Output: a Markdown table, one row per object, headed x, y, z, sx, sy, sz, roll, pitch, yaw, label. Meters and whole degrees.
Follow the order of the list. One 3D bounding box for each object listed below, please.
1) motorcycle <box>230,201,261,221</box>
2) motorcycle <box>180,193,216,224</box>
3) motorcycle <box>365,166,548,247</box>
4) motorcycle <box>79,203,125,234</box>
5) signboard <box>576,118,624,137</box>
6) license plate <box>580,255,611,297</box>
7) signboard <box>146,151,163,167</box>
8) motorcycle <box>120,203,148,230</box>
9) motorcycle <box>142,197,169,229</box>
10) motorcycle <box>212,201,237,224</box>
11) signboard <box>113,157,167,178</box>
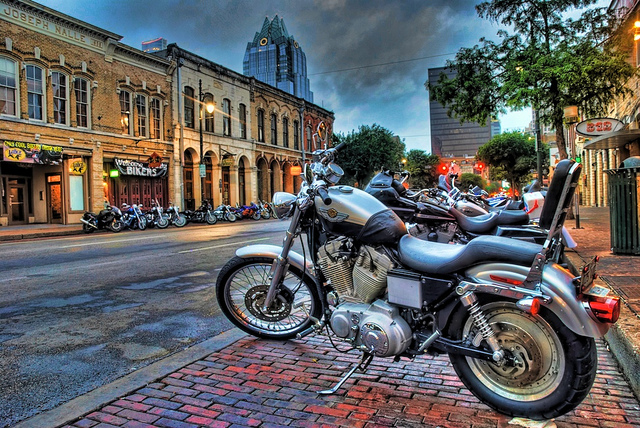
| x | y | z | sx | sy | sz | roll | pitch | yaw | label |
| --- | --- | --- | --- | --- | --- | --- | --- | --- | --- |
| -5.021 | -0.026 | 30.251 | 1.927 | 1.218 | 1.019 | -5 | 20 | -13 | motorcycle |
| -7.083 | -0.021 | 26.136 | 2.169 | 1.386 | 1.389 | -3 | 6 | -9 | motorcycle |
| 2.406 | -0.007 | 7.625 | 2.699 | 1.432 | 1.597 | 12 | 8 | 24 | motorcycle |
| -10.061 | 0.249 | 20.474 | 2.166 | 1.327 | 0.879 | -2 | -10 | 13 | motorcycle |
| 7.433 | -2.296 | 11.599 | 1.074 | 0.633 | 0.149 | -2 | 0 | 23 | signboard |
| 2.424 | 0.553 | 3.810 | 0.208 | 0.273 | 0.393 | 10 | 18 | 41 | license plate |
| -10.511 | -3.526 | 28.171 | 0.917 | 0.907 | 0.829 | -3 | -2 | -4 | signboard |
| -9.393 | 0.070 | 21.673 | 1.945 | 1.163 | 1.032 | 7 | 6 | 9 | motorcycle |
| -8.774 | -0.011 | 22.594 | 1.996 | 1.281 | 1.059 | 10 | -21 | -24 | motorcycle |
| -5.914 | 0.011 | 27.314 | 1.409 | 0.943 | 0.906 | -1 | 3 | 19 | motorcycle |
| -11.148 | -2.918 | 27.564 | 0.519 | 1.333 | 3.520 | 4 | 10 | 31 | signboard |
